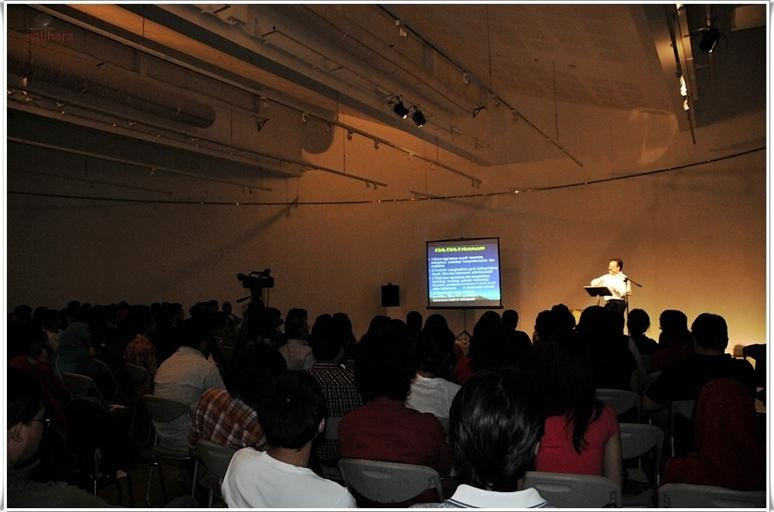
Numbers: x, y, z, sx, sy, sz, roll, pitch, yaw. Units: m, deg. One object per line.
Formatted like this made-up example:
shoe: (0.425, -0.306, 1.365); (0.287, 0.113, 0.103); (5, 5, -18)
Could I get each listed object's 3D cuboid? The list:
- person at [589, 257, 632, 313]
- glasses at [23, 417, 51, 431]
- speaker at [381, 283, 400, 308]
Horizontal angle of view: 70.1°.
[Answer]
person: (4.016, 0.517, 9.797); (0.487, 1.130, 0.514); (40, -40, -19)
glasses: (-2.055, 0.982, 3.247); (0.093, 0.031, 0.092); (-2, -10, 15)
speaker: (0.097, 0.893, 12.422); (0.478, 0.689, 0.501); (-1, -2, 2)
